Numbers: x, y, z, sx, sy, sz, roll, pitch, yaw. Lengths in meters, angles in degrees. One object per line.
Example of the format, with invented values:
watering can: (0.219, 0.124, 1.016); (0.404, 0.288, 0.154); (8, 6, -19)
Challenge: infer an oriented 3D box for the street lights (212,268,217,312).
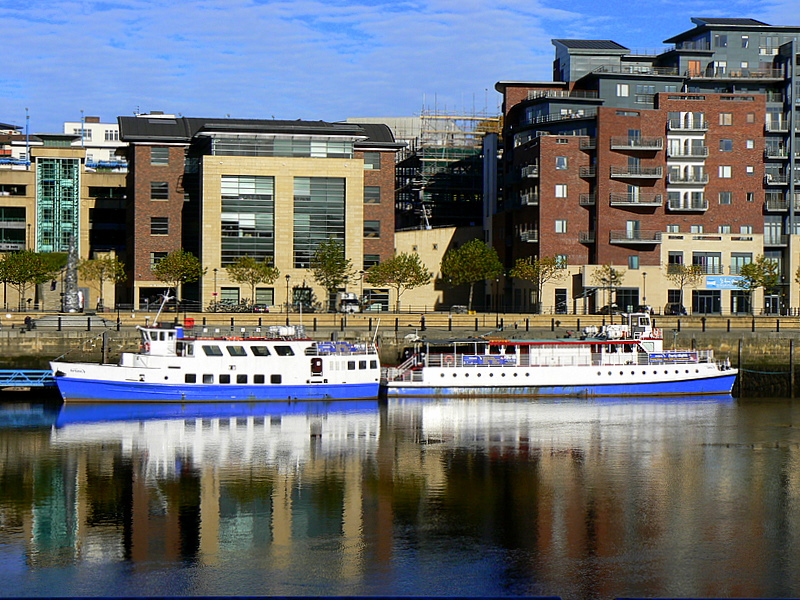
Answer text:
street lights: (-22.204, -1.682, 230.331); (0.605, 3.914, 0.634); (-1, -2, -10)

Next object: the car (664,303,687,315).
car: (33.153, 1.258, 228.384); (1.853, 1.148, 1.684); (0, 1, 9)

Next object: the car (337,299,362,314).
car: (-5.688, 0.906, 225.280); (2.335, 1.146, 1.581); (-1, 5, 4)
